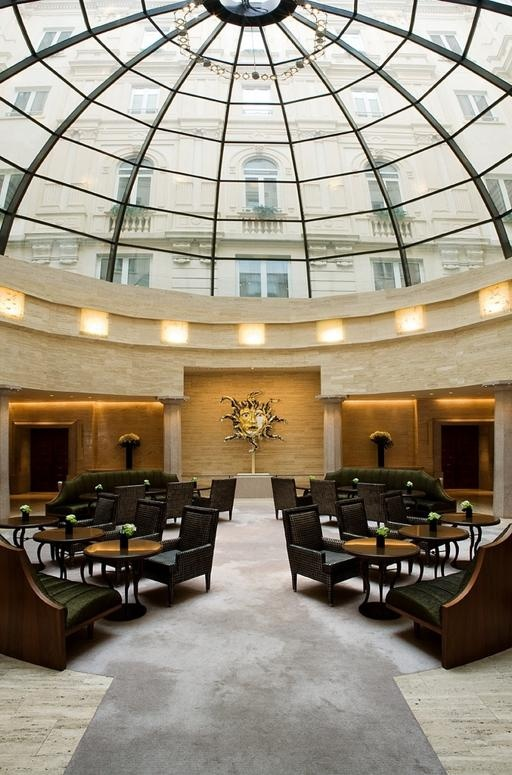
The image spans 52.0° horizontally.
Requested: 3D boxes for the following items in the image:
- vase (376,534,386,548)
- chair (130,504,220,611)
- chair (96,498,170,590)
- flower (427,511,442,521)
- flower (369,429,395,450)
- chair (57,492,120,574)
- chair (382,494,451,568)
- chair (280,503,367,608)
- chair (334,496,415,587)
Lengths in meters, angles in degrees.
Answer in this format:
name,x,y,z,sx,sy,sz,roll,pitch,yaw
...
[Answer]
name,x,y,z,sx,sy,sz,roll,pitch,yaw
vase,1.369,1.669,5.777,0.109,0.182,0.113,0,1,-8
chair,-0.801,1.965,6.352,0.855,1.198,0.992,-3,-5,43
chair,-1.564,1.978,7.196,0.765,1.120,0.832,-6,-9,40
flower,2.241,1.600,6.596,0.189,0.120,0.193,1,-3,15
flower,3.627,1.475,15.059,0.516,0.490,0.871,-2,-5,18
chair,-2.456,2.106,8.125,0.953,1.212,0.828,7,-11,-40
chair,2.554,2.144,8.381,0.853,1.191,0.837,-1,-2,25
chair,0.855,2.005,6.534,0.951,1.221,0.941,-5,-6,42
chair,1.493,2.069,7.367,0.988,1.340,0.911,-6,-7,44
